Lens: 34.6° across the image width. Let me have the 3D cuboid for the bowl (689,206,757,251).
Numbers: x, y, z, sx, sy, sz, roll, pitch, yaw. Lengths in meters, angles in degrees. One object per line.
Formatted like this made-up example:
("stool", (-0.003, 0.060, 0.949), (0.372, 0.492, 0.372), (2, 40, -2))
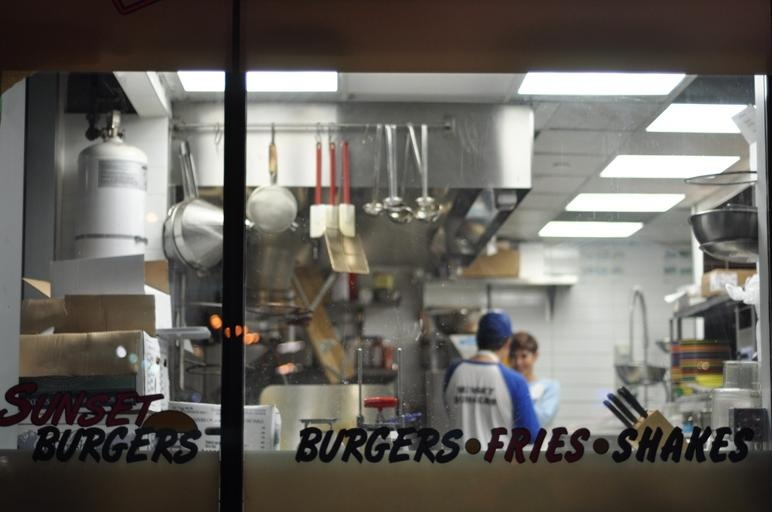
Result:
("bowl", (1.182, -0.084, 4.361), (0.086, 0.167, 0.323), (5, -9, -30))

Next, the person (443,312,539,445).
("person", (0.427, 0.571, 5.182), (0.435, 0.705, 0.345), (4, 15, 14))

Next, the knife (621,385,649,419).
("knife", (0.863, 0.514, 4.330), (0.040, 0.167, 0.044), (-22, 21, 39))

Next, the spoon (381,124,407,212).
("spoon", (0.022, -0.381, 5.316), (0.078, 0.326, 0.188), (0, -8, 0))

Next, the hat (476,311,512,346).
("hat", (0.457, 0.312, 5.248), (0.149, 0.164, 0.168), (1, 5, 18))
